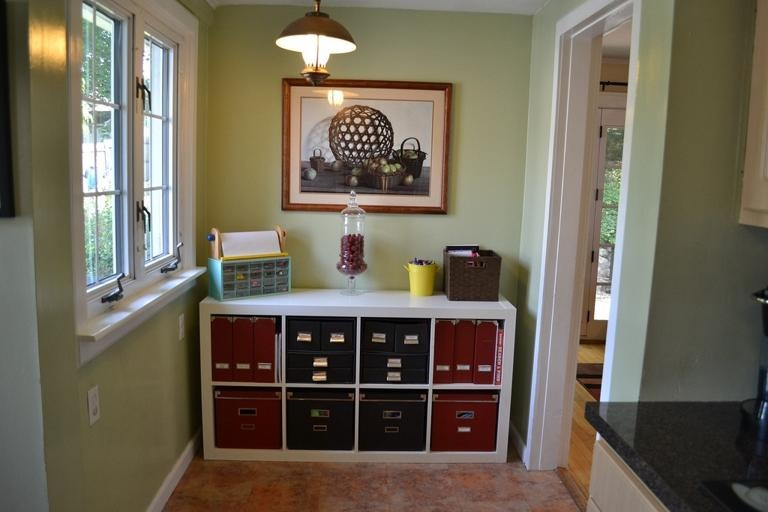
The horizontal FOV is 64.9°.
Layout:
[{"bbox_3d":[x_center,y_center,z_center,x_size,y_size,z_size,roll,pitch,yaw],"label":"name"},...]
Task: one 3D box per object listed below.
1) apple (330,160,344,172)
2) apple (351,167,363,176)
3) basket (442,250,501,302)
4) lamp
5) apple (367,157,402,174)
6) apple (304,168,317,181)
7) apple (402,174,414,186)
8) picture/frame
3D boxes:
[{"bbox_3d":[-0.307,-0.592,3.992,0.057,0.060,0.076,8,14,9],"label":"apple"},{"bbox_3d":[-0.180,-0.558,4.006,0.055,0.066,0.056,24,-20,13],"label":"apple"},{"bbox_3d":[0.571,0.135,3.995,0.328,0.329,0.341,1,0,0],"label":"basket"},{"bbox_3d":[-0.329,-1.045,2.956,0.352,0.404,0.285,-3,9,-16],"label":"lamp"},{"bbox_3d":[0.005,-0.589,4.008,0.135,0.058,0.139,3,1,-29],"label":"apple"},{"bbox_3d":[-0.483,-0.536,3.991,0.077,0.074,0.076,-11,19,-41],"label":"apple"},{"bbox_3d":[0.164,-0.503,4.021,0.064,0.078,0.064,9,17,20],"label":"apple"},{"bbox_3d":[-0.135,-0.759,3.972,0.869,0.705,0.031,1,5,-4],"label":"picture/frame"}]
